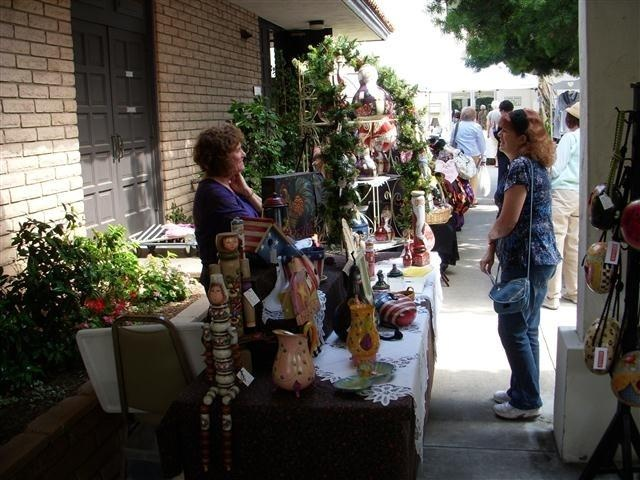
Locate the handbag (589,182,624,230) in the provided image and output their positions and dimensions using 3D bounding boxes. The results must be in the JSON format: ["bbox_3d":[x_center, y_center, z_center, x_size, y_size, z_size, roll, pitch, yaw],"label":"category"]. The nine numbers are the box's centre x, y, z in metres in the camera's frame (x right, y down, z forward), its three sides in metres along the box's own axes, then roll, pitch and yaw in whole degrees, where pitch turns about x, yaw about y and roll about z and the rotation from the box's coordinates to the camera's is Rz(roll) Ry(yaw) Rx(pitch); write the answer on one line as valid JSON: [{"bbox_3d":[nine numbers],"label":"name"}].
[{"bbox_3d":[1.373,-0.149,2.276,0.200,0.213,0.159,4,10,33],"label":"handbag"}]

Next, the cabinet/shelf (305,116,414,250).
[{"bbox_3d":[0.318,-0.488,3.763,0.590,1.024,1.376,10,14,14],"label":"cabinet/shelf"}]

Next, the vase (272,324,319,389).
[{"bbox_3d":[-0.130,0.529,2.142,0.225,0.280,0.197,3,-6,-33],"label":"vase"}]

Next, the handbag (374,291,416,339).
[{"bbox_3d":[0.419,0.432,2.702,0.184,0.260,0.128,-1,-18,9],"label":"handbag"}]

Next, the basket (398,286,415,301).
[{"bbox_3d":[0.562,0.342,3.009,0.077,0.046,0.073,-11,15,-33],"label":"basket"}]

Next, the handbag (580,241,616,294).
[{"bbox_3d":[1.393,0.136,2.353,0.097,0.235,0.193,8,14,5],"label":"handbag"}]

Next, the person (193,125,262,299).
[{"bbox_3d":[-0.611,-0.199,3.005,0.465,1.016,0.817,5,14,-8],"label":"person"}]

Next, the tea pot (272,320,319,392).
[{"bbox_3d":[-0.122,0.541,2.154,0.230,0.294,0.206,2,-6,-31],"label":"tea pot"}]

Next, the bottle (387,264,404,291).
[{"bbox_3d":[0.551,0.270,3.402,0.106,0.127,0.110,1,7,18],"label":"bottle"}]

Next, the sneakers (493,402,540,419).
[{"bbox_3d":[1.449,1.242,3.483,0.322,0.147,0.120,2,-1,5],"label":"sneakers"}]

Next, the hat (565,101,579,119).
[{"bbox_3d":[2.727,-1.386,5.077,0.118,0.186,0.403,13,15,25],"label":"hat"}]

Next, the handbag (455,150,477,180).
[{"bbox_3d":[2.157,-1.103,7.100,0.374,0.402,0.299,8,14,6],"label":"handbag"}]

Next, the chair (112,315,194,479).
[{"bbox_3d":[-0.857,0.764,2.317,0.416,0.808,0.223,10,14,16],"label":"chair"}]

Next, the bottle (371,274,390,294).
[{"bbox_3d":[0.385,0.274,2.973,0.100,0.114,0.103,2,6,28],"label":"bottle"}]

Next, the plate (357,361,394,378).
[{"bbox_3d":[0.258,0.602,2.159,0.161,0.060,0.123,5,14,-10],"label":"plate"}]

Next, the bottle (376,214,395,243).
[{"bbox_3d":[0.578,-0.102,4.348,0.202,0.310,0.211,1,-2,0],"label":"bottle"}]
